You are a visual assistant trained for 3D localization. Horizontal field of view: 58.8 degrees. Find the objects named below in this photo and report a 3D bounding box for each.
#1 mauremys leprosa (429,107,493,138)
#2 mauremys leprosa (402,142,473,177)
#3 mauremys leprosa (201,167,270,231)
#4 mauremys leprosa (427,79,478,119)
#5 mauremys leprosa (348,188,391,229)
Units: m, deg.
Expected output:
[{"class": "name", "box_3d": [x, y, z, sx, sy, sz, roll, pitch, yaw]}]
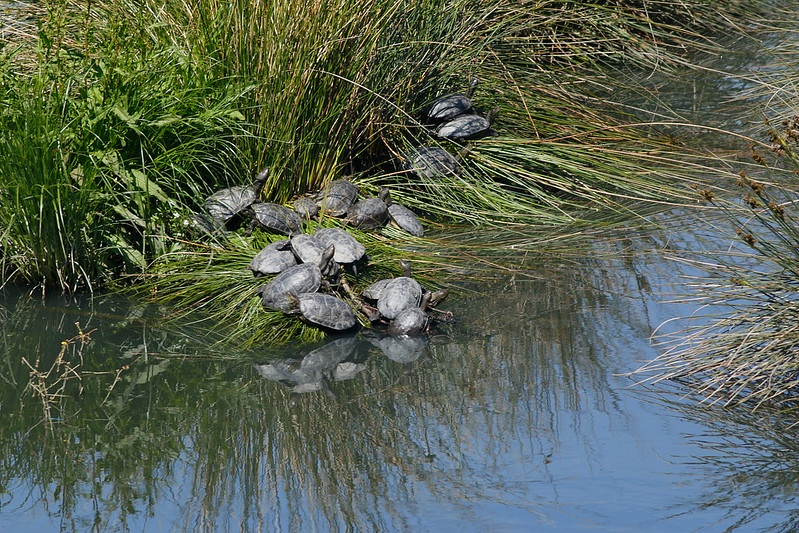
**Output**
[{"class": "mauremys leprosa", "box_3d": [0.536, -1.143, 5.715, 0.380, 0.080, 0.226, -17, 31, -18]}, {"class": "mauremys leprosa", "box_3d": [0.308, -0.834, 5.539, 0.547, 0.235, 0.334, -4, 59, 0]}, {"class": "mauremys leprosa", "box_3d": [-1.136, -0.438, 4.803, 0.549, 0.132, 0.321, -27, 42, 3]}, {"class": "mauremys leprosa", "box_3d": [0.424, -1.341, 5.832, 0.499, 0.092, 0.291, -28, 31, -24]}, {"class": "mauremys leprosa", "box_3d": [-0.190, -0.413, 5.068, 0.266, 0.108, 0.338, 21, 46, 23]}]
